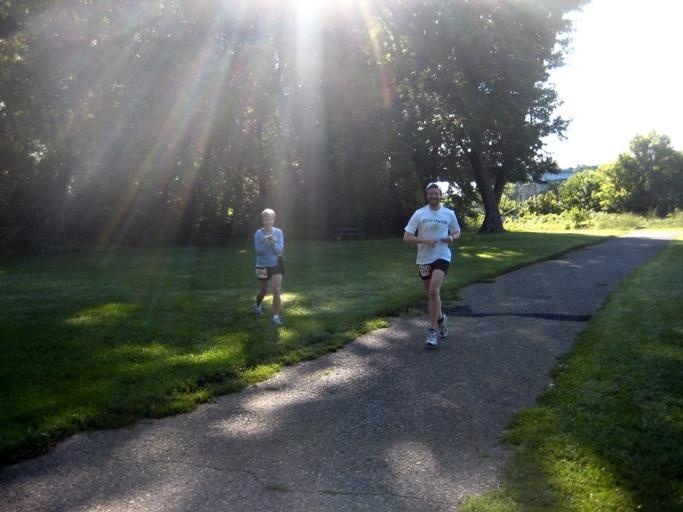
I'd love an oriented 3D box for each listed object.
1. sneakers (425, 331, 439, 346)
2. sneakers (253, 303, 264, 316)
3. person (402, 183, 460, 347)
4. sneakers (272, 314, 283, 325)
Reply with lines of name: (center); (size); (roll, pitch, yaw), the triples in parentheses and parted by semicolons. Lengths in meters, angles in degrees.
sneakers: (1.384, 1.271, 7.053); (0.120, 0.167, 0.351); (-2, -8, 14)
sneakers: (-1.657, 1.054, 9.264); (0.115, 0.160, 0.354); (-7, 36, -34)
person: (1.402, 0.100, 7.238); (0.665, 2.475, 0.889); (2, 5, 33)
sneakers: (-1.170, 1.174, 8.570); (0.099, 0.219, 0.297); (0, -5, -32)
